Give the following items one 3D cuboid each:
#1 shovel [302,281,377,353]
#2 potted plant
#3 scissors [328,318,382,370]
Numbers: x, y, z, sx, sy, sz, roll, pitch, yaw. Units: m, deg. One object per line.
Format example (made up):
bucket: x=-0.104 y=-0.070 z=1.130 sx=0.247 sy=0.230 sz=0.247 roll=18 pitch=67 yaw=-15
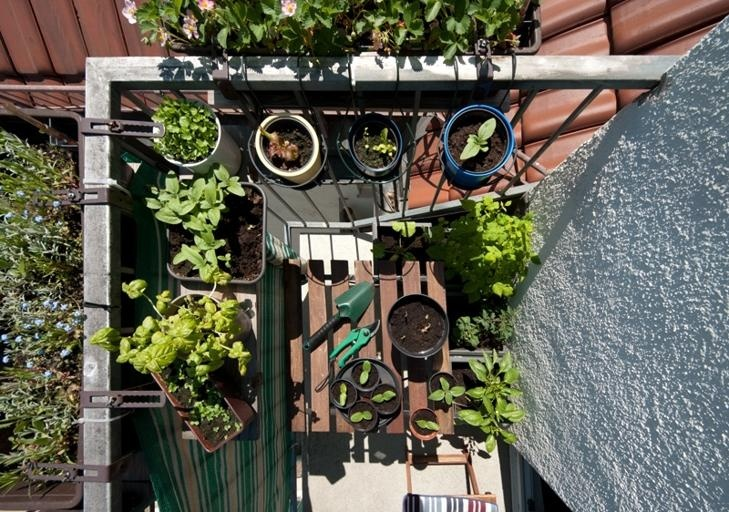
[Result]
shovel: x=-0.161 y=0.367 z=4.195 sx=0.206 sy=0.078 sz=0.568 roll=42 pitch=67 yaw=16
potted plant: x=-0.053 y=-0.052 z=4.911 sx=1.926 sy=3.364 sz=1.769 roll=3 pitch=104 yaw=11
scissors: x=-0.070 y=0.503 z=4.229 sx=0.288 sy=0.236 sz=0.298 roll=4 pitch=103 yaw=13
